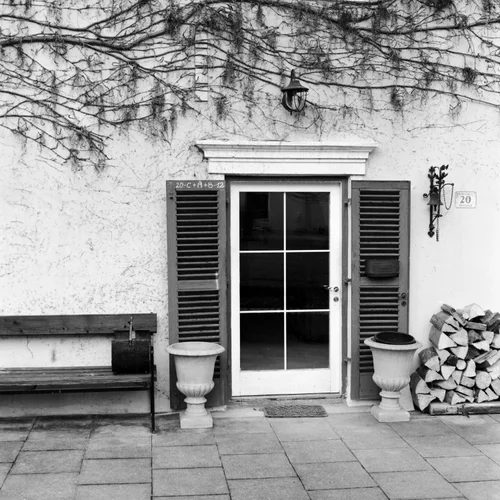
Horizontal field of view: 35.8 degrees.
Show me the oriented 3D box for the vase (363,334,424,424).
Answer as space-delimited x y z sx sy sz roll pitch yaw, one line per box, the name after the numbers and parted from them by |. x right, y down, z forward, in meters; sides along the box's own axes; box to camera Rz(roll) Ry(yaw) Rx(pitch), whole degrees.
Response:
1.176 1.093 6.665 0.565 0.805 0.617 1 -2 -6 | vase

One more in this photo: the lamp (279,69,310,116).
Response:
0.382 -1.351 6.611 0.225 0.364 0.269 1 9 2 | lamp

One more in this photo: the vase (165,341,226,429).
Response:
-0.453 1.098 6.385 0.459 0.647 0.411 -1 9 -7 | vase

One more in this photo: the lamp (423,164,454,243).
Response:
1.687 -0.408 6.891 0.284 0.678 0.213 1 9 2 | lamp
